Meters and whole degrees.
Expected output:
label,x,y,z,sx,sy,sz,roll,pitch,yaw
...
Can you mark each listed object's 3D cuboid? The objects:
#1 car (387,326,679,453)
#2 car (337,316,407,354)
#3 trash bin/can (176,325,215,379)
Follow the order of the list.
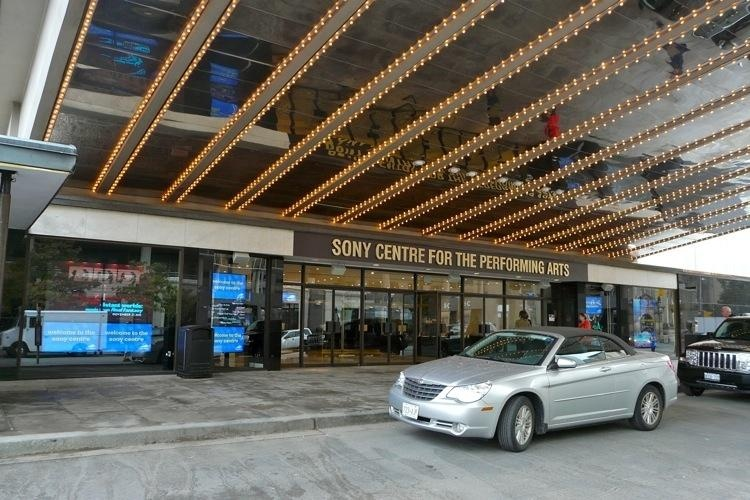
label,x,y,z,sx,sy,sz,roll,pitch,yaw
car,3.300,2.597,10.025,5.338,1.293,2.388,5,-11,-23
car,-0.052,3.575,20.570,2.818,0.931,1.389,0,-3,-19
trash bin/can,-5.397,3.026,14.849,1.077,1.551,0.709,2,-10,-5
